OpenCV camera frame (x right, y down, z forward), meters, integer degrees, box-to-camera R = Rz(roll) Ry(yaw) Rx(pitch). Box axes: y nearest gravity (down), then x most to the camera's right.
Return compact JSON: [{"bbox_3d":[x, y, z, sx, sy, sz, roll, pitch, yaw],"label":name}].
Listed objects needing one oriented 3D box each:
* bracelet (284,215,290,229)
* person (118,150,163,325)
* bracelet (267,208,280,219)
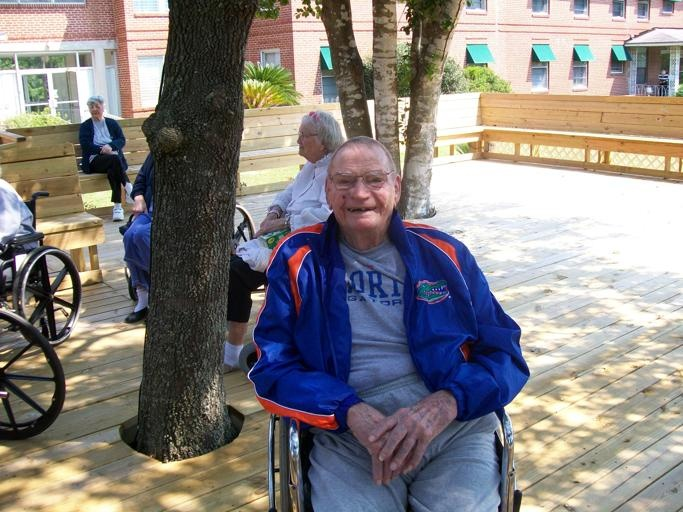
[{"bbox_3d":[-0.393,-0.254,4.128,0.021,0.066,0.072,7,-24,-20],"label":"bracelet"},{"bbox_3d":[-1.776,-0.133,4.939,0.358,1.441,0.646,-6,12,-17],"label":"person"},{"bbox_3d":[-0.518,-0.321,4.380,0.096,0.023,0.093,-17,17,-22],"label":"bracelet"}]
